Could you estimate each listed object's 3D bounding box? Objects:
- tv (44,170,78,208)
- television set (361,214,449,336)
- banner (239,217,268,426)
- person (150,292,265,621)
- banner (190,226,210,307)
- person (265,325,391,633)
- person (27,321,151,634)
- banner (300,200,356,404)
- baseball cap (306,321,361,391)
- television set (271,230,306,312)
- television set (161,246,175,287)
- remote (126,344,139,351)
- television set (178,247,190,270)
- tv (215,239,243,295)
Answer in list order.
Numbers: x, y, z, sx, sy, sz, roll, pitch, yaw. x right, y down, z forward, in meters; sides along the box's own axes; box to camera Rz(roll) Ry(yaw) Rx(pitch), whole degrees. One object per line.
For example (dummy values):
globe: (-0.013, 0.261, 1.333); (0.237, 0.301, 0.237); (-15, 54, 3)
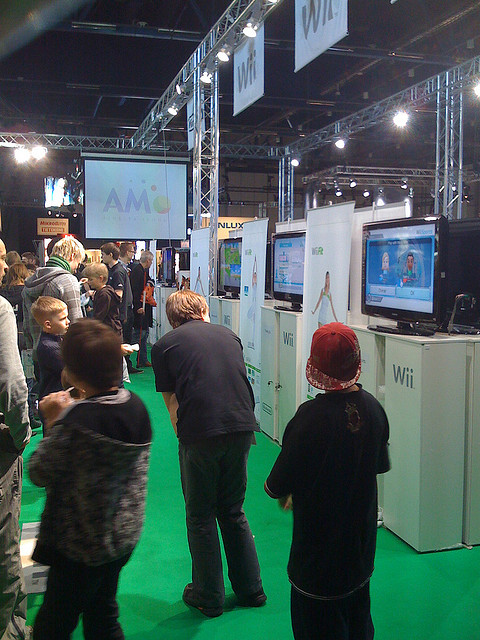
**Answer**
tv: (-5.209, -3.751, 14.068); (1.182, 1.362, 0.176); (4, 2, 39)
television set: (0.960, -0.264, 2.912); (0.167, 0.676, 0.580); (-2, 6, -35)
banner: (0.132, 0.034, 4.937); (0.130, 2.050, 0.768); (-1, 3, -14)
person: (-0.155, 0.617, 2.327); (0.524, 1.500, 0.421); (-1, 3, -6)
banner: (-0.538, -0.760, 6.670); (0.157, 1.009, 0.911); (-1, 3, -13)
person: (0.286, 0.523, 1.520); (0.408, 1.020, 0.235); (0, 3, 4)
person: (-0.442, 0.477, 1.456); (0.366, 0.948, 0.236); (-2, 3, -25)
banner: (0.611, -0.134, 3.513); (0.016, 1.255, 0.433); (-7, 11, -43)
baseball cap: (0.285, 0.095, 1.480); (0.143, 0.110, 0.260); (-1, 23, 15)
television set: (0.488, -0.456, 4.473); (0.165, 0.741, 0.609); (-2, 5, -27)
television set: (-1.598, -1.181, 10.846); (0.216, 0.923, 0.774); (0, 7, -26)
remote: (-0.612, 0.157, 2.813); (0.088, 0.031, 0.071); (-7, 4, -21)
television set: (-1.182, -1.280, 10.190); (0.192, 0.442, 0.493); (-1, 4, -12)
tv: (-0.143, -0.665, 6.028); (0.173, 0.680, 0.991); (-1, 4, -11)
